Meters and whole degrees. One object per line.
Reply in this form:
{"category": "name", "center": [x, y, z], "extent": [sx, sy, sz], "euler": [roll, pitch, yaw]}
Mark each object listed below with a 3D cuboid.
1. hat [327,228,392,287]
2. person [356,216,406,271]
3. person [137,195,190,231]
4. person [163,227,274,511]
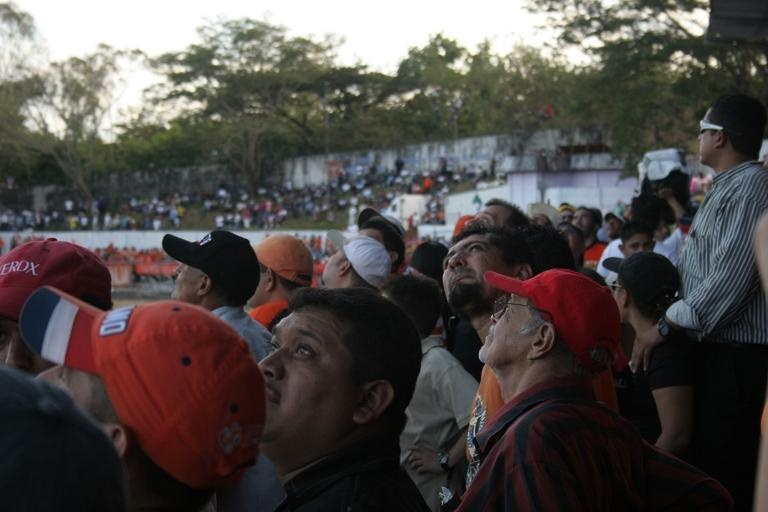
{"category": "hat", "center": [-0.366, 0.148, 15.519], "extent": [0.588, 0.766, 0.743], "euler": [14, -47, -44]}
{"category": "person", "center": [-0.038, -0.164, 16.227], "extent": [0.385, 0.826, 0.491], "euler": [-19, 5, 24]}
{"category": "person", "center": [-5.751, -1.039, 31.563], "extent": [1.182, 0.801, 1.571], "euler": [-2, -17, -9]}
{"category": "person", "center": [-1.845, 1.372, 13.436], "extent": [1.016, 1.061, 3.136], "euler": [2, 41, 2]}
